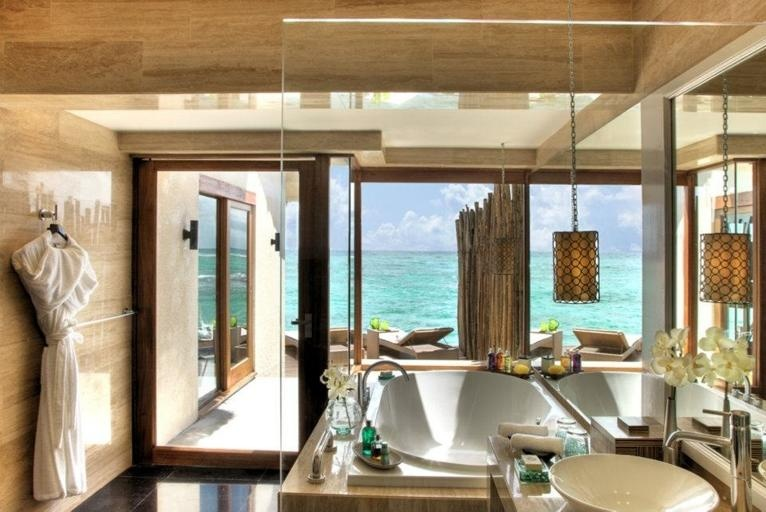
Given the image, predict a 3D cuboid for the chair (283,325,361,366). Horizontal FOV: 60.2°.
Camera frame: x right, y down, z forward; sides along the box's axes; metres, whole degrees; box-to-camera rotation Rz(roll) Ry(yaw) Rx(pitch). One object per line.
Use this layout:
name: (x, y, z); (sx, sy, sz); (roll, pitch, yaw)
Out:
chair: (-0.384, 0.513, 3.824); (0.414, 0.176, 0.189); (-2, 1, -1)

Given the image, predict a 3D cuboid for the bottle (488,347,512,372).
bottle: (0.718, 0.648, 4.096); (0.145, 0.149, 0.062); (-2, 1, 12)

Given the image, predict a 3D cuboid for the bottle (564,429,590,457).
bottle: (0.997, 0.971, 3.426); (0.111, 0.151, 0.156); (1, -5, 2)

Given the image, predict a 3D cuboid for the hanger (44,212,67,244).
hanger: (-2.298, -0.206, 4.620); (0.089, 0.202, 0.111); (-21, -31, -3)

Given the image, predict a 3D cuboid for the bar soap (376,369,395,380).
bar soap: (0.005, 0.740, 4.137); (0.076, 0.066, 0.075); (1, -1, 2)

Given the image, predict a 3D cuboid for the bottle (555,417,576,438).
bottle: (0.958, 0.909, 3.498); (0.091, 0.092, 0.092); (1, -4, -2)

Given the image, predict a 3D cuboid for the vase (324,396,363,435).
vase: (-0.223, 0.886, 3.688); (0.207, 0.233, 0.202); (0, -8, -2)

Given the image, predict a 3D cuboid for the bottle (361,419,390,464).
bottle: (-0.063, 1.023, 3.601); (0.169, 0.284, 0.157); (0, -7, 0)

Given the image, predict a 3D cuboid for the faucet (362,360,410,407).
faucet: (0.015, 0.762, 3.945); (0.275, 0.335, 0.221); (0, -3, 1)

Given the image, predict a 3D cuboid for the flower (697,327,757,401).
flower: (1.672, 0.525, 3.223); (0.230, 0.355, 0.232); (-2, 1, 29)

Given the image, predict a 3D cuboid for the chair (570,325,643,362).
chair: (1.283, 0.500, 3.778); (0.190, 0.118, 0.269); (0, 2, 35)

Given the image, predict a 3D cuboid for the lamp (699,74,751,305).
lamp: (1.702, -0.319, 3.315); (0.161, 1.143, 0.187); (-2, 1, -10)

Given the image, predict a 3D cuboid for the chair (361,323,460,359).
chair: (0.245, 0.715, 6.046); (0.406, 0.444, 0.738); (1, 3, -26)

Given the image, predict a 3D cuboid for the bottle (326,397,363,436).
bottle: (-0.221, 0.887, 3.688); (0.207, 0.233, 0.201); (0, -8, 0)

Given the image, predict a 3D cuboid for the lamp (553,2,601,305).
lamp: (1.019, -0.513, 3.572); (0.247, 1.537, 0.374); (-2, 1, 16)
